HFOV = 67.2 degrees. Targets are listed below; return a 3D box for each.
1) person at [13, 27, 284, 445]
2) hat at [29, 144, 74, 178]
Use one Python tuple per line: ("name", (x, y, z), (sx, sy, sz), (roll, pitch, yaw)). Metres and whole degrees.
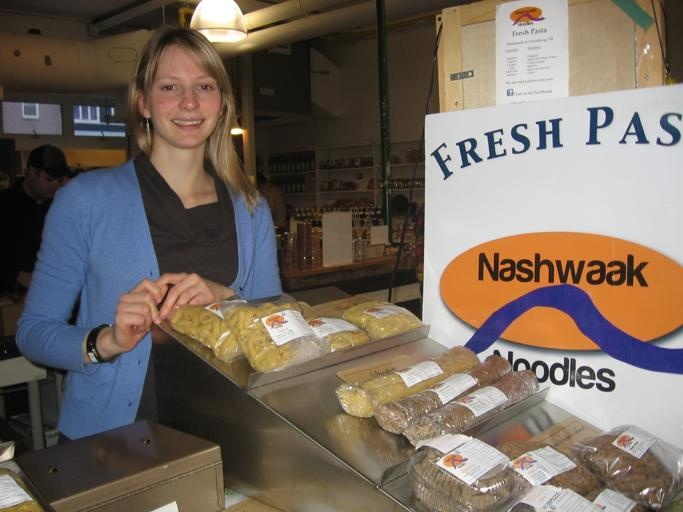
("person", (-0.605, -0.116, 1.795), (0.627, 1.325, 0.836), (1, 9, 27))
("hat", (-2.403, -0.790, 4.269), (0.322, 0.195, 0.232), (27, 22, 13))
